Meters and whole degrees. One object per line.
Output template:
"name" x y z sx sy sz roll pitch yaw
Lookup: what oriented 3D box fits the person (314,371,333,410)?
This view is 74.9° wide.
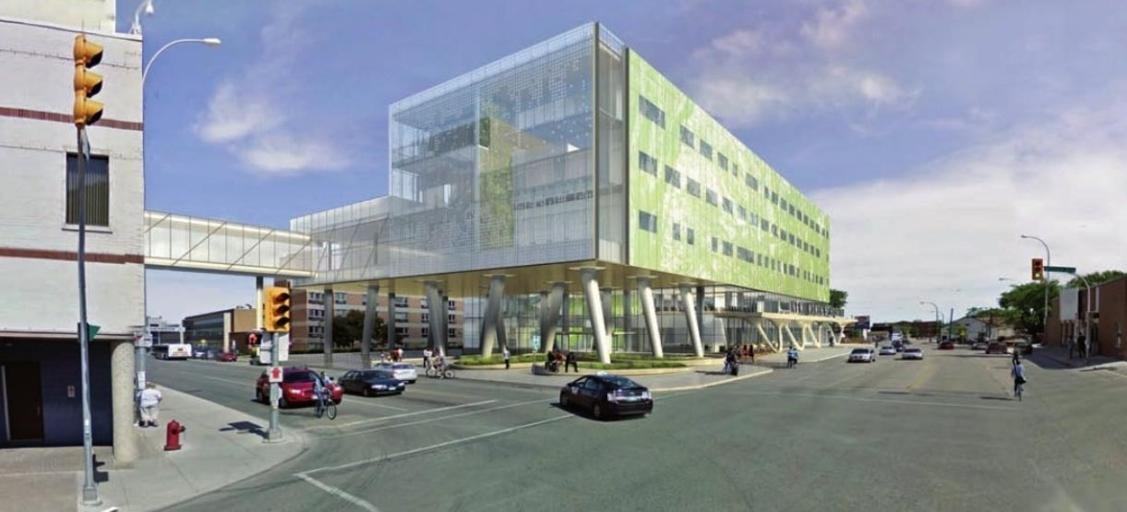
"person" -17.140 9.706 52.494 1.013 2.795 1.189 3 -15 -32
